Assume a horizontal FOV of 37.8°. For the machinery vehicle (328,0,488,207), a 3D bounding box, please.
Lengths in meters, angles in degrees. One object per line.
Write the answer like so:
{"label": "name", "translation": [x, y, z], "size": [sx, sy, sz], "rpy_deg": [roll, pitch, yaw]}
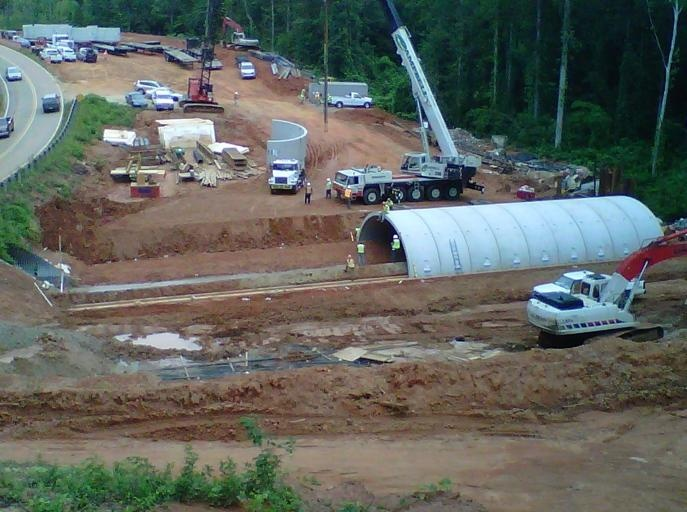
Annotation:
{"label": "machinery vehicle", "translation": [3.689, -8.371, 54.424], "size": [8.915, 10.628, 6.531], "rpy_deg": [-2, 16, -8]}

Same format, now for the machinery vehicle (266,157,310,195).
{"label": "machinery vehicle", "translation": [-3.223, -4.486, 54.864], "size": [1.459, 1.024, 2.683], "rpy_deg": [1, 13, 5]}

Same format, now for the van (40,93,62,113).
{"label": "van", "translation": [-19.127, -9.960, 65.128], "size": [1.370, 0.833, 1.910], "rpy_deg": [-7, 27, -14]}

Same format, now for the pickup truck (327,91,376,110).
{"label": "pickup truck", "translation": [0.381, -11.202, 72.486], "size": [3.257, 0.842, 1.183], "rpy_deg": [-1, 17, -5]}

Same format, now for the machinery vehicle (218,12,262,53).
{"label": "machinery vehicle", "translation": [-9.437, -19.934, 89.503], "size": [2.134, 2.033, 4.983], "rpy_deg": [-25, 36, -30]}
